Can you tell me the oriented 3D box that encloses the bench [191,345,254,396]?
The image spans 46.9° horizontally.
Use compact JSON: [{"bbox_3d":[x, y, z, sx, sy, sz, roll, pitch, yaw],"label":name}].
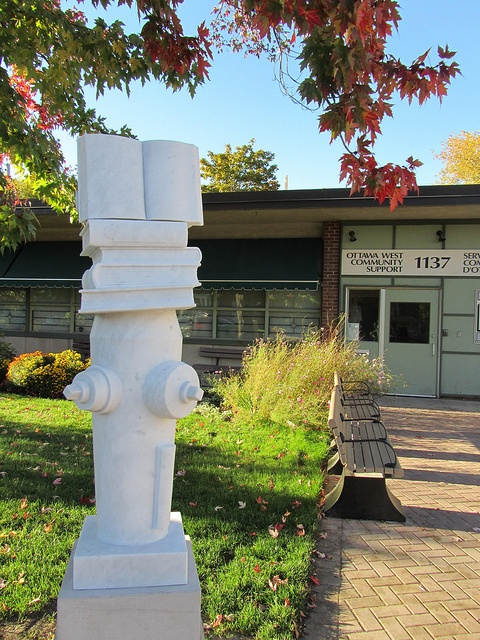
[{"bbox_3d":[-0.495,0.947,11.912,1.197,0.406,0.555,10,-36,-42],"label":"bench"}]
